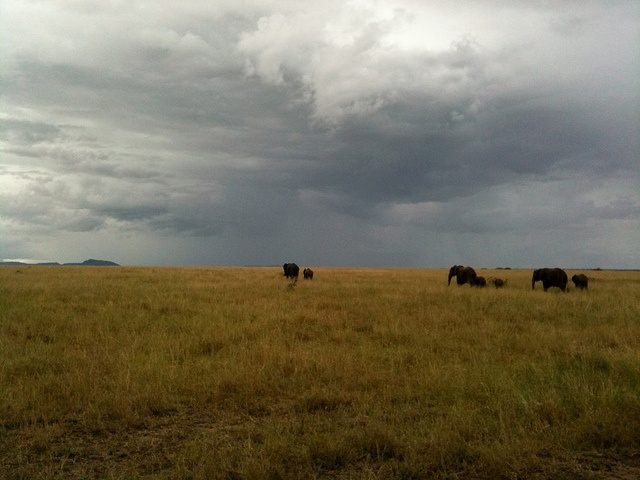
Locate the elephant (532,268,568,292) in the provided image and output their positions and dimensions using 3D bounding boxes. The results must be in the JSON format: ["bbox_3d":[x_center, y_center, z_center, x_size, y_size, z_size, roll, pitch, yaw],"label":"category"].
[{"bbox_3d":[14.617,2.461,40.478,1.767,1.389,3.440,-2,-2,18],"label":"elephant"}]

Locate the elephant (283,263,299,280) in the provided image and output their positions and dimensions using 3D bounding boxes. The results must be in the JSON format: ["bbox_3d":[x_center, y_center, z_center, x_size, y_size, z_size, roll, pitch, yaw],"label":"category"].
[{"bbox_3d":[-2.166,2.381,49.090,0.976,1.130,3.388,-1,-2,-5],"label":"elephant"}]

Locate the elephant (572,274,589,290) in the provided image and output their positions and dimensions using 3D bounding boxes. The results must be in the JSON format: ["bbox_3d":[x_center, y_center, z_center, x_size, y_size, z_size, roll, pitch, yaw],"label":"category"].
[{"bbox_3d":[17.490,2.798,43.004,0.742,1.063,1.726,1,2,22],"label":"elephant"}]

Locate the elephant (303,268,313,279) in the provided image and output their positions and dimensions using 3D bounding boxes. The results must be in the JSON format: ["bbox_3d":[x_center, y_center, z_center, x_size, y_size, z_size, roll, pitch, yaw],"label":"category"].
[{"bbox_3d":[-0.909,2.564,50.136,0.621,0.816,1.819,-1,-2,-4],"label":"elephant"}]
